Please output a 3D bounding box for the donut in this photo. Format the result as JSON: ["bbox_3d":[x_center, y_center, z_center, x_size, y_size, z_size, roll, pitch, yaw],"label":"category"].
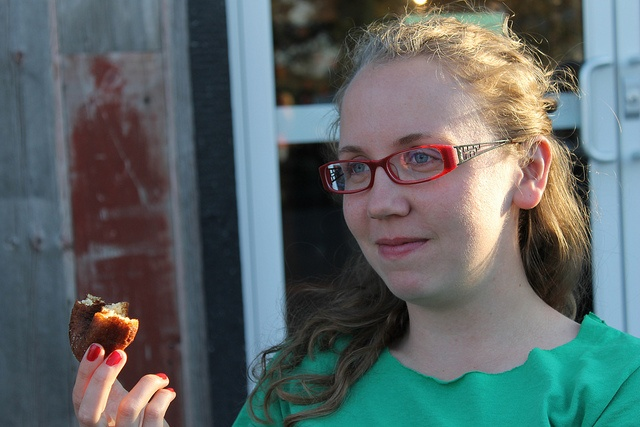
[{"bbox_3d":[-0.954,0.489,4.275,0.224,0.319,0.207,7,1,45],"label":"donut"}]
